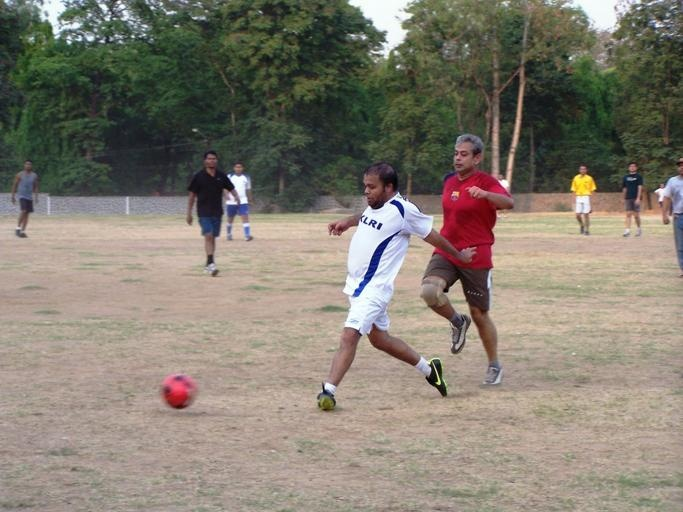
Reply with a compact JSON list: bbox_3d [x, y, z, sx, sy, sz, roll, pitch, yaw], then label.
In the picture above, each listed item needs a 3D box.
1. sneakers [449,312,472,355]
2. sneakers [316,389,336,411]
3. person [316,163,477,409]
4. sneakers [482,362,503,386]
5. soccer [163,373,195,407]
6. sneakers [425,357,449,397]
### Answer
[{"bbox_3d":[1.359,0.889,12.497,0.303,0.468,0.181,10,7,-13],"label":"sneakers"},{"bbox_3d":[-0.147,1.453,11.104,0.186,0.219,0.201,1,1,-1],"label":"sneakers"},{"bbox_3d":[0.429,0.294,11.357,1.470,2.531,0.337,0,1,-20],"label":"person"},{"bbox_3d":[1.675,1.281,11.956,0.209,0.235,0.311,1,1,8],"label":"sneakers"},{"bbox_3d":[-1.568,1.334,11.093,0.385,0.328,0.321,6,28,2],"label":"soccer"},{"bbox_3d":[1.023,1.274,11.585,0.229,0.423,0.171,-27,8,-12],"label":"sneakers"}]
